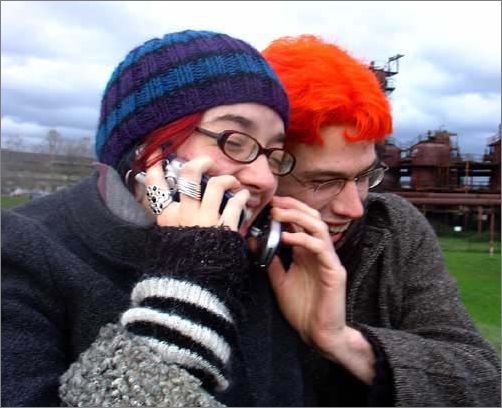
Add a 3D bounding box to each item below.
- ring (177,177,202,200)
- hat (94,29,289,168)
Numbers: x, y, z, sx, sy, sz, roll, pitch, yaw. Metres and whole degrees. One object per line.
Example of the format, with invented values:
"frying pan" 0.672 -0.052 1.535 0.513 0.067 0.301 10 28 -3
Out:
"ring" -0.277 -0.070 2.371 0.118 0.074 0.034 11 -16 -10
"hat" -0.327 -0.542 2.739 0.998 0.558 0.925 -7 -10 -12
